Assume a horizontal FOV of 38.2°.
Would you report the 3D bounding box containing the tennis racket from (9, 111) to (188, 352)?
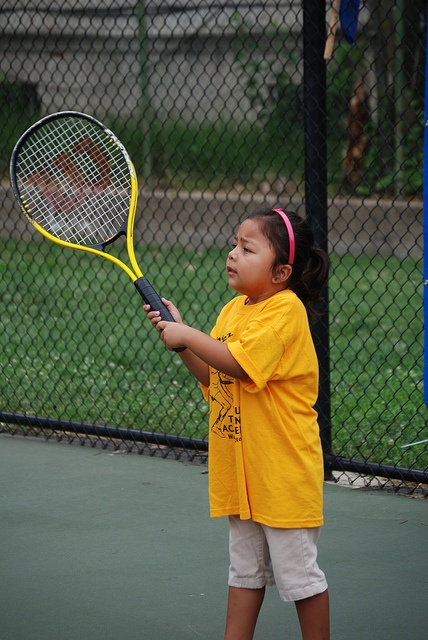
[{"bbox_3d":[-0.466,-0.323,3.184,0.511,0.132,1.801,-27,-33,-2],"label":"tennis racket"}]
